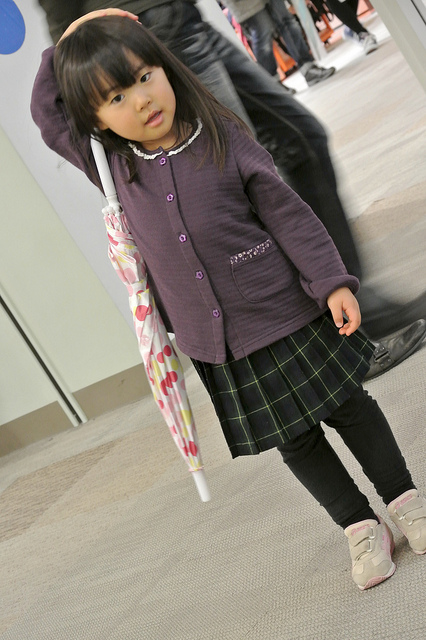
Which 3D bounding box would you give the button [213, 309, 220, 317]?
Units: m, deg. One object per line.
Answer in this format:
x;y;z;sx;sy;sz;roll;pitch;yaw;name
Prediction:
0.005;-0.010;0.718;0.008;0.010;0.003;-1;3;11;button

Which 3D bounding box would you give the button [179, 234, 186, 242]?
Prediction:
-0.042;-0.113;0.708;0.009;0.009;0.001;5;14;40;button

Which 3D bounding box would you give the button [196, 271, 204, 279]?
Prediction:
-0.018;-0.063;0.716;0.010;0.010;0.002;1;5;14;button

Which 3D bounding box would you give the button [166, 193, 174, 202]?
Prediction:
-0.059;-0.170;0.711;0.008;0.009;0.002;0;-5;18;button

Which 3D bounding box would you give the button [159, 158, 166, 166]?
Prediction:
-0.070;-0.223;0.723;0.009;0.008;0.002;3;5;23;button
